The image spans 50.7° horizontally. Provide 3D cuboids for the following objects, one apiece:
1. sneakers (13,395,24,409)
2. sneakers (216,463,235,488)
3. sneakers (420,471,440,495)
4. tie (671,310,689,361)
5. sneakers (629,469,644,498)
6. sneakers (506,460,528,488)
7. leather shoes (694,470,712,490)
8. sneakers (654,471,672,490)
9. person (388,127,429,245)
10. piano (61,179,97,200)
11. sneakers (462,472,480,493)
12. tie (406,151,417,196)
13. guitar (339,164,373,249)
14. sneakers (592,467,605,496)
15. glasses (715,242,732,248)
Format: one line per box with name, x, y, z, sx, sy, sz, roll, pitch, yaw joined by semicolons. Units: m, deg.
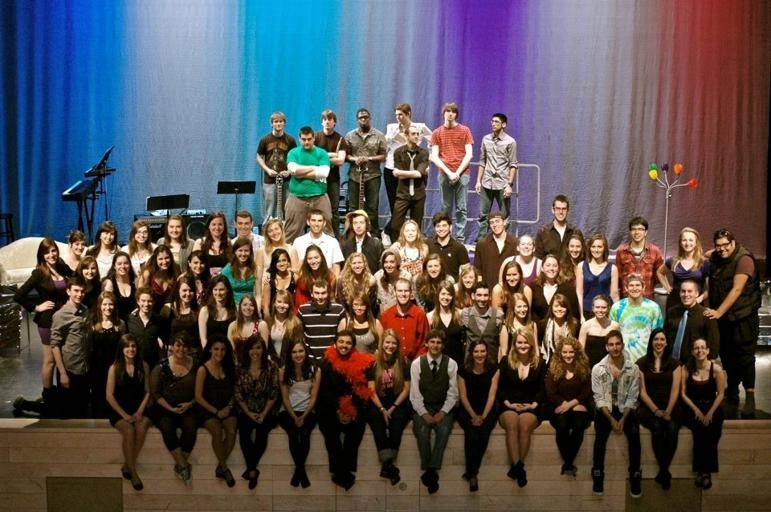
sneakers;-4.667;1.863;10.377;0.121;0.106;0.131;-42;1;-40
sneakers;-1.916;2.628;9.781;0.229;0.304;0.111;-1;5;-10
sneakers;0.545;2.713;9.819;0.211;0.348;0.115;-1;5;1
tie;3.704;1.062;10.331;0.139;0.639;0.046;19;-5;-18
sneakers;3.018;2.721;9.767;0.115;0.396;0.154;-1;-11;13
sneakers;1.598;2.618;9.814;0.244;0.342;0.138;0;5;7
leather shoes;3.832;2.706;9.808;0.155;0.229;0.066;2;19;15
sneakers;3.365;2.701;9.827;0.210;0.277;0.148;-4;0;10
person;0.378;-1.015;12.256;0.565;1.921;0.549;-5;31;-3
piano;-5.254;-1.142;14.088;0.502;0.345;0.575;-1;5;0
sneakers;1.039;2.711;9.789;0.135;0.354;0.105;-3;-13;-9
tie;0.390;-1.182;12.052;0.104;0.620;0.072;0;5;2
guitar;-0.376;-0.684;11.978;0.489;1.332;0.187;0;4;6
sneakers;2.565;2.709;9.814;0.144;0.348;0.093;0;5;12
glasses;4.332;-0.127;10.401;0.093;0.031;0.098;-17;-30;41
